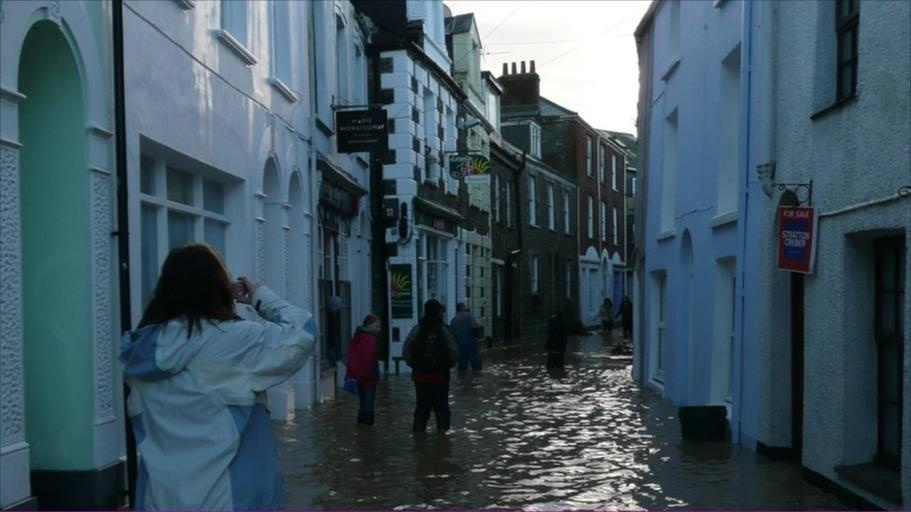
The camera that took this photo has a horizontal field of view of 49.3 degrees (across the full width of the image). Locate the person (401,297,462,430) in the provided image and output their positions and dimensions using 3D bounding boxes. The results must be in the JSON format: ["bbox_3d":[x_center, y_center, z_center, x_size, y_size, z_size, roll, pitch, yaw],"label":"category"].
[{"bbox_3d":[-0.439,1.863,17.030,0.885,2.254,0.670,1,-6,-3],"label":"person"}]

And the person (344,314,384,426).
[{"bbox_3d":[-1.648,2.004,17.559,0.598,1.919,1.259,2,-6,-6],"label":"person"}]

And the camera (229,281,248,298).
[{"bbox_3d":[-1.976,0.291,8.988,0.153,0.147,0.046,-9,-6,-29],"label":"camera"}]
